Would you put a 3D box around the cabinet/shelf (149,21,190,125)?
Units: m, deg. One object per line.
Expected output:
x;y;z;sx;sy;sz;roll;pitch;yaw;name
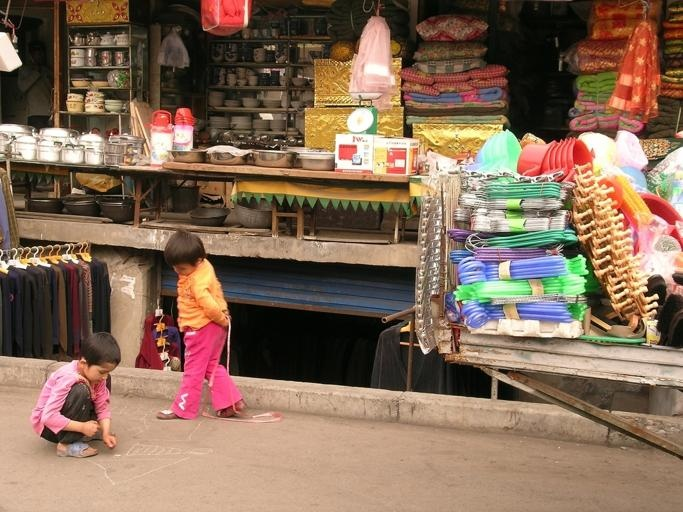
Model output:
-2.572;-2.769;11.741;0.452;1.394;0.543;-2;11;-14;cabinet/shelf

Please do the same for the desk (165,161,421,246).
-0.327;-0.705;8.175;1.838;0.405;1.151;2;1;13;desk

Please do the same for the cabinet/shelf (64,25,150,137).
-3.552;-2.752;11.670;1.530;2.059;0.830;2;6;-2;cabinet/shelf

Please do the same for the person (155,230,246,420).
-1.103;0.546;6.247;0.672;1.475;0.361;2;4;-9;person

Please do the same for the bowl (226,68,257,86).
-1.583;-2.741;12.210;0.346;0.165;0.414;1;5;-3;bowl

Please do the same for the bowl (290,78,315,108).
-0.601;-2.479;11.882;0.355;0.523;0.268;2;4;1;bowl

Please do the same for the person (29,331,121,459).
-1.873;0.977;5.511;0.579;0.889;0.326;1;5;-19;person

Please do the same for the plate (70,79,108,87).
-3.799;-2.580;11.704;0.273;0.060;0.267;0;3;-33;plate

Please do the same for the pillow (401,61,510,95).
1.380;-2.183;9.764;1.324;0.347;0.153;4;4;22;pillow

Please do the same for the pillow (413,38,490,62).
1.333;-2.553;9.746;0.885;0.254;0.143;3;4;14;pillow

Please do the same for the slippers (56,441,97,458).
-1.870;1.367;5.521;0.217;0.085;0.120;1;0;-3;slippers

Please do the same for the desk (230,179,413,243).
-0.234;-0.620;8.221;2.083;0.632;0.948;4;11;25;desk
